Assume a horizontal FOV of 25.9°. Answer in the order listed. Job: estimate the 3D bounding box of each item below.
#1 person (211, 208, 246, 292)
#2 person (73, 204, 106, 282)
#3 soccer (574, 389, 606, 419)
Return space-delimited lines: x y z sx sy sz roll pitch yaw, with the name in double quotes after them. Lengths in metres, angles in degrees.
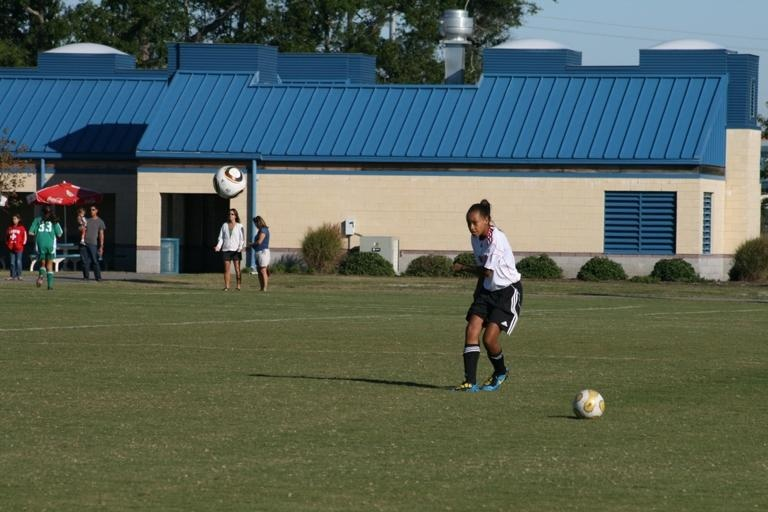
-5.307 -0.240 57.442 1.157 2.737 1.033 0 -1 -19 "person"
-10.819 -0.503 61.762 1.227 2.735 0.848 3 -2 13 "person"
5.024 3.634 41.392 0.742 0.669 0.703 1 1 -2 "soccer"
